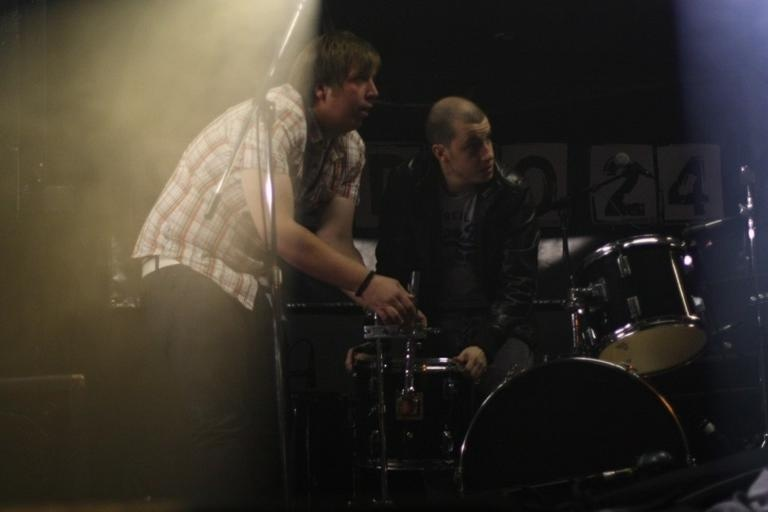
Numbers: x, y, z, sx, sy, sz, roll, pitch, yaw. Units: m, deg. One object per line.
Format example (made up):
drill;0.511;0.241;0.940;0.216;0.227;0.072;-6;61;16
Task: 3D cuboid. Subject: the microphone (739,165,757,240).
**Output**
microphone;2.025;-0.282;4.401;0.084;0.423;0.268;-6;26;28

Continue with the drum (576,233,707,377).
drum;1.264;0.211;4.259;0.701;0.710;0.538;1;58;-9

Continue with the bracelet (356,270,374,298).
bracelet;-0.088;0.131;3.536;0.096;0.027;0.101;-59;-8;2
